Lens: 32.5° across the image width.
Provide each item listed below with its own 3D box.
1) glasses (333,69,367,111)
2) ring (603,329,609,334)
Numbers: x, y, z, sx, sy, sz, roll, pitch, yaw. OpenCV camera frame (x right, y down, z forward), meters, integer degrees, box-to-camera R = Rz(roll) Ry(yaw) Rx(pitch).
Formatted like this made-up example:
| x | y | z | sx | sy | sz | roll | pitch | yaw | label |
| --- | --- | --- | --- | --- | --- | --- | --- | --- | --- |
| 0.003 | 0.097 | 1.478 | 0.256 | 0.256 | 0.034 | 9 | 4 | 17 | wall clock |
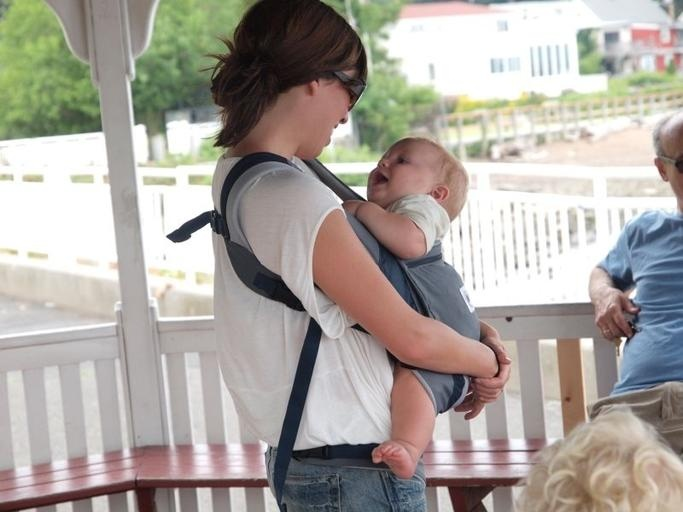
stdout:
| x | y | z | sx | sy | sz | roll | pitch | yaw | label |
| --- | --- | --- | --- | --- | --- | --- | --- | --- | --- |
| 0.037 | -1.166 | 8.322 | 0.224 | 0.070 | 0.221 | 25 | -5 | 5 | glasses |
| 2.119 | 0.608 | 9.363 | 0.031 | 0.021 | 0.029 | -1 | 0 | 0 | ring |
